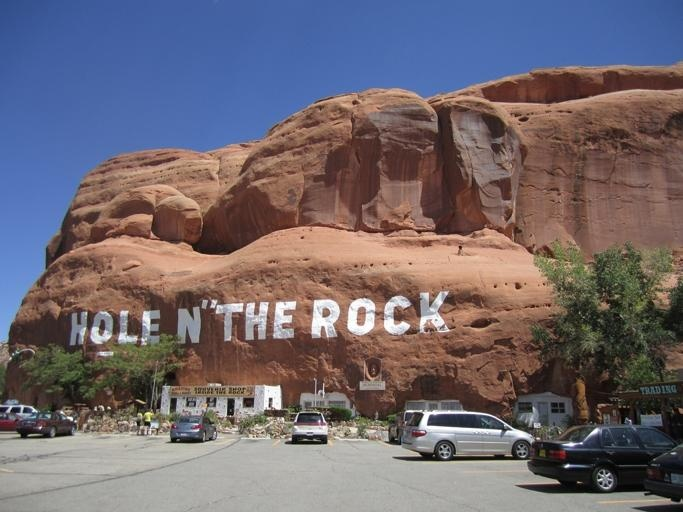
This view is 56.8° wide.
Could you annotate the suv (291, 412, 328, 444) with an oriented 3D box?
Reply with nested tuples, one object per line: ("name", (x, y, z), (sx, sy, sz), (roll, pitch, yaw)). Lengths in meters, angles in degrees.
("suv", (-1.540, 8.452, 30.932), (1.006, 0.972, 2.409), (0, -9, 0))

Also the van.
("van", (4.964, 7.160, 25.332), (4.543, 1.671, 2.254), (0, -13, -8))

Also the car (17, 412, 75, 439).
("car", (-16.274, 9.323, 34.633), (2.257, 1.447, 2.590), (-1, -17, -6))

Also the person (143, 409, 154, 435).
("person", (-11.557, 10.005, 37.599), (0.451, 1.362, 1.745), (3, -17, -17))

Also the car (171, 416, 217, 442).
("car", (-7.324, 8.873, 32.440), (1.069, 0.775, 2.416), (0, -9, 5))

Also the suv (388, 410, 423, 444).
("suv", (3.186, 8.764, 31.923), (1.458, 1.510, 3.159), (1, -9, -1))
